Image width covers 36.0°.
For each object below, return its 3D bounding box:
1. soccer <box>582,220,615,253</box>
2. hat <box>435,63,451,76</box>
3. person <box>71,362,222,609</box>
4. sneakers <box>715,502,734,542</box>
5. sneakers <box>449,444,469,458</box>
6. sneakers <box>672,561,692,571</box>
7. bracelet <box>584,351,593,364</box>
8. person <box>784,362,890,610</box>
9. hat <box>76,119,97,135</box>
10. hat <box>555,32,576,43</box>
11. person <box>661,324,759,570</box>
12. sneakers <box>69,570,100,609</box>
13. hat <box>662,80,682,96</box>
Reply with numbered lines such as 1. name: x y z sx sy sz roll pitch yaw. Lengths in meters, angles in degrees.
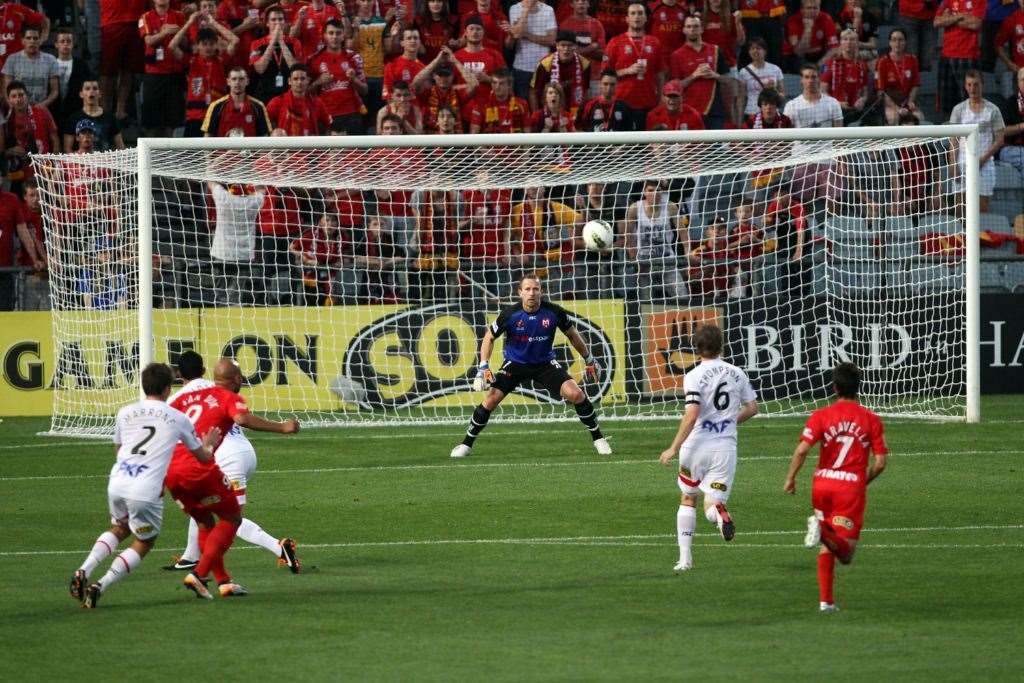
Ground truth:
1. soccer: 1.154 -1.388 21.044 0.349 0.418 0.572 2 12 11
2. hat: -1.042 -4.010 23.676 0.166 0.234 0.240 -2 6 -1
3. person: -3.248 1.262 13.787 1.196 2.055 0.537 -4 13 -17
4. sneakers: 2.005 1.689 14.610 0.142 0.396 0.174 -7 -16 -5
5. sneakers: -0.646 1.334 19.289 0.234 0.162 0.320 0 12 -2
6. sneakers: 1.573 2.076 14.611 0.148 0.093 0.088 1 12 5
7. bracelet: 0.921 0.222 19.044 0.119 0.111 0.122 2 3 25
8. person: 2.779 1.276 13.715 0.705 2.015 1.123 11 16 41
9. hat: -6.281 -3.157 23.239 0.243 0.194 0.386 1 -5 -17
10. hat: 0.830 -4.657 24.318 0.270 0.179 0.300 1 12 4
11. person: 1.827 1.005 14.716 0.747 2.193 0.862 3 13 14
12. sneakers: -3.666 2.147 13.591 0.183 0.402 0.202 -14 18 -7
13. hat: 2.405 -3.730 23.671 0.243 0.176 0.326 0 -17 5
